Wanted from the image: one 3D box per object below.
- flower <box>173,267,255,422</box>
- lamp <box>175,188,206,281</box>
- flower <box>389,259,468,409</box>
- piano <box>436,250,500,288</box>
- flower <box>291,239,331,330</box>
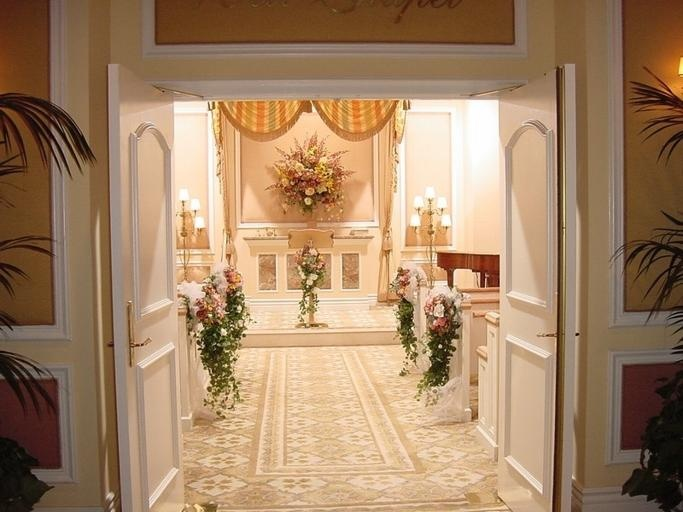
[{"bbox_3d":[-1.217,0.815,5.715,0.566,1.417,0.973,-1,7,-6],"label":"flower"},{"bbox_3d":[-2.722,-0.362,10.542,0.502,1.657,0.573,-2,7,-8],"label":"lamp"},{"bbox_3d":[0.900,0.882,6.204,0.512,1.248,1.153,-7,13,-28],"label":"flower"},{"bbox_3d":[1.906,0.242,8.914,0.846,0.657,0.601,2,11,15],"label":"piano"},{"bbox_3d":[-0.472,0.438,9.039,0.448,1.261,1.301,-1,7,-3],"label":"flower"}]
